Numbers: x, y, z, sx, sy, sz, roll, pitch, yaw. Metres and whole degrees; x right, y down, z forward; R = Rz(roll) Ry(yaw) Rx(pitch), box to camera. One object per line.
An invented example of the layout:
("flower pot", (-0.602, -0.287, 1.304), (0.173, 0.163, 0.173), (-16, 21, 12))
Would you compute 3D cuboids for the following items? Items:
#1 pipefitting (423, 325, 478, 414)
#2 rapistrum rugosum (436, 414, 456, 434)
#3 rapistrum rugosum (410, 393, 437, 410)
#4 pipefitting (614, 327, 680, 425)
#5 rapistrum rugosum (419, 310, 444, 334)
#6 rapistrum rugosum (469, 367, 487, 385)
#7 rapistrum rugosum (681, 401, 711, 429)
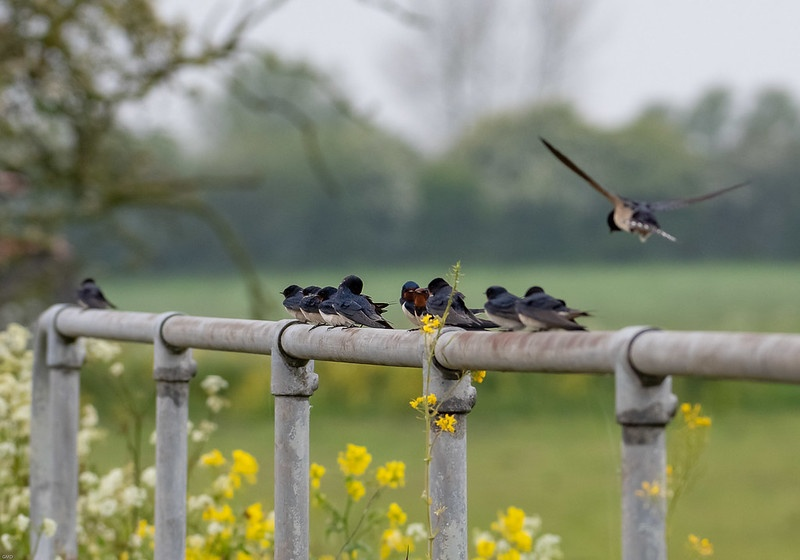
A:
("pipefitting", (0.268, 0.489, 9.344), (0.289, 0.423, 0.342), (0, -27, -5))
("rapistrum rugosum", (0.241, 0.751, 9.291), (0.113, 0.093, 0.103), (-2, -27, -1))
("rapistrum rugosum", (0.121, 0.631, 9.347), (0.101, 0.063, 0.099), (3, -34, -10))
("pipefitting", (1.235, 0.488, 8.916), (0.306, 0.455, 0.237), (-5, -27, 5))
("rapistrum rugosum", (0.169, 0.230, 9.322), (0.114, 0.111, 0.097), (4, -11, -4))
("rapistrum rugosum", (0.421, 0.514, 9.435), (0.039, 0.080, 0.079), (-8, -41, -42))
("rapistrum rugosum", (1.589, 0.748, 9.459), (0.142, 0.139, 0.075), (32, -24, 23))
